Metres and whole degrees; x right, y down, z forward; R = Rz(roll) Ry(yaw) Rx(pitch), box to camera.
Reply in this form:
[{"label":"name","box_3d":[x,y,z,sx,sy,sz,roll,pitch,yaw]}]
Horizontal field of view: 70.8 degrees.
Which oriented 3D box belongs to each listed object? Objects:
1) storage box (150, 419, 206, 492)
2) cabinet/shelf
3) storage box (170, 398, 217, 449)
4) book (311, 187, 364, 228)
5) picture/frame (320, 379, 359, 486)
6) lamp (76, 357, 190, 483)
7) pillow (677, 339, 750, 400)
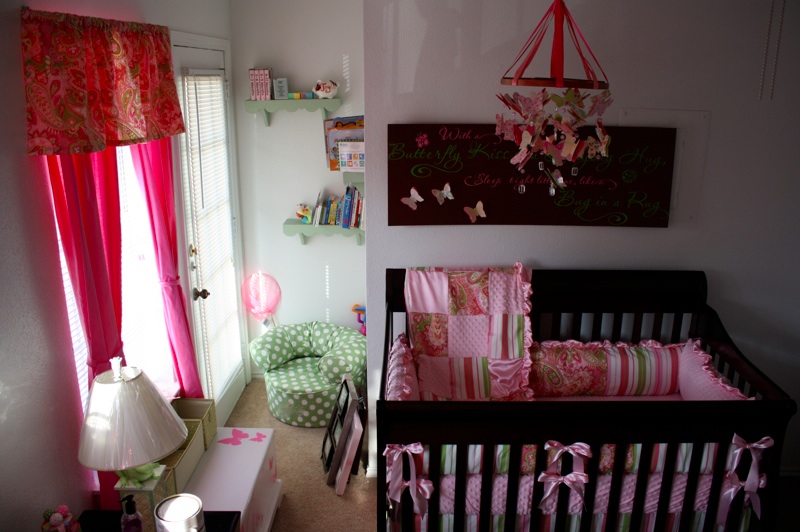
[{"label":"storage box","box_3d":[-1.173,1.048,2.996,0.249,0.071,0.270,3,16,3]},{"label":"cabinet/shelf","box_3d":[-0.787,-0.834,4.684,1.143,1.026,0.385,-1,7,-4]},{"label":"storage box","box_3d":[-1.172,0.904,3.343,0.275,0.273,0.272,1,6,-2]},{"label":"book","box_3d":[-0.509,-0.476,4.672,0.349,0.203,0.313,-4,-28,17]},{"label":"picture/frame","box_3d":[-0.423,1.184,3.953,0.064,0.592,0.499,11,25,-16]},{"label":"lamp","box_3d":[-1.209,0.611,2.515,0.425,0.456,0.435,2,12,27]},{"label":"pillow","box_3d":[1.873,0.643,3.588,0.197,0.317,0.478,2,-14,21]}]
